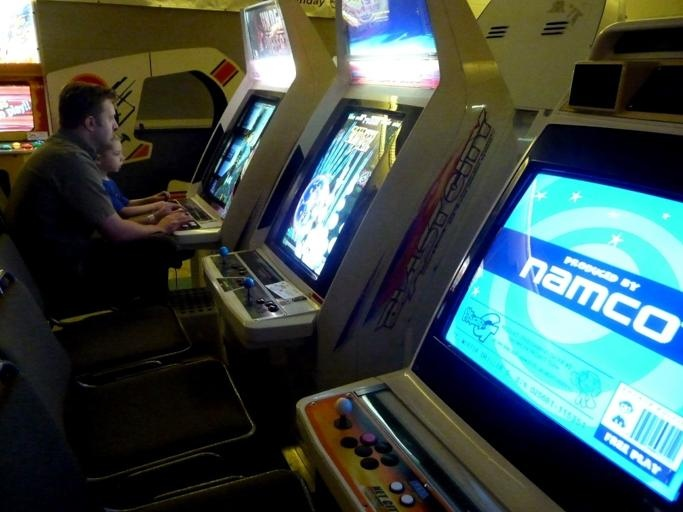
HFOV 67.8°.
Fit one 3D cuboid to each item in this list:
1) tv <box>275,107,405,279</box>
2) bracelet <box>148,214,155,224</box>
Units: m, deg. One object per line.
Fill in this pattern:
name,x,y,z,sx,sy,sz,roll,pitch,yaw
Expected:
tv,0.003,-0.244,2.028,0.341,0.684,0.477,20,13,-32
bracelet,-1.086,-0.214,2.957,0.057,0.017,0.059,1,59,24
